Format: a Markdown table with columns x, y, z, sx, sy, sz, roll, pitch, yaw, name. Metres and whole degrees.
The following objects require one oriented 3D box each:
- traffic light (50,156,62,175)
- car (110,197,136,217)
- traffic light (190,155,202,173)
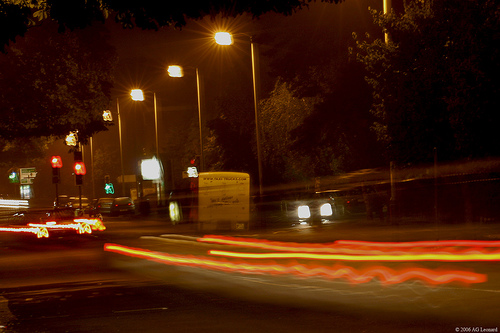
| x | y | z | sx | sy | sz | roll | pitch | yaw | name |
| --- | --- | --- | --- | --- | --- | --- | --- | --- | --- |
| -13.051 | -0.131 | 30.304 | 0.860 | 1.309 | 0.373 | 3 | 14 | 5 | traffic light |
| -14.655 | 4.616 | 51.316 | 1.772 | 1.544 | 3.112 | -1 | -3 | -10 | car |
| -4.208 | -0.226 | 35.096 | 0.714 | 1.088 | 1.490 | -3 | -2 | -4 | traffic light |
